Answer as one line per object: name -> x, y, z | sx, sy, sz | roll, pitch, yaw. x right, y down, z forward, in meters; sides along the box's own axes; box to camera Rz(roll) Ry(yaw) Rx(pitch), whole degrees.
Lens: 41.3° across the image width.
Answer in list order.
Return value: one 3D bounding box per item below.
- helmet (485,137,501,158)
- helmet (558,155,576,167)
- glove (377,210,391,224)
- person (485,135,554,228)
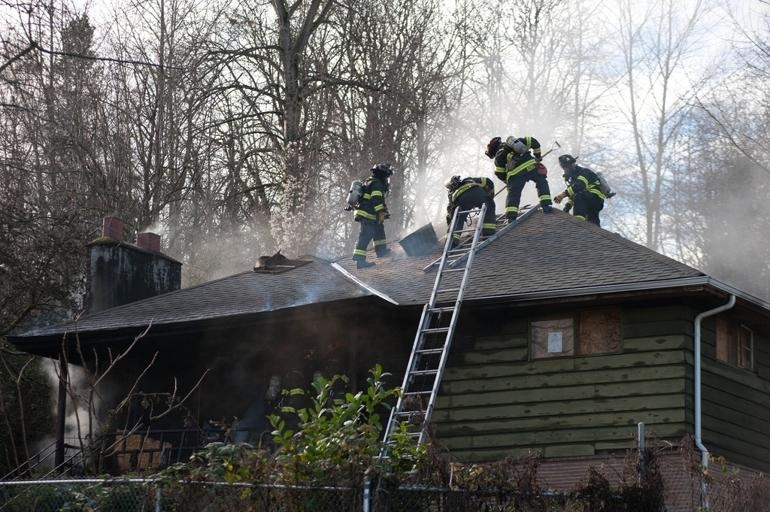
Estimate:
helmet -> 2.295, -2.316, 21.749 | 0.154, 0.443, 0.323 | 32, -22, 8
helmet -> 3.993, -2.072, 22.380 | 0.352, 0.268, 0.258 | -18, 9, -23
glove -> -0.071, -0.829, 21.302 | 0.206, 0.114, 0.293 | -1, -17, -14
person -> 2.871, -1.664, 21.593 | 1.113, 2.367, 0.999 | -24, -37, 18
